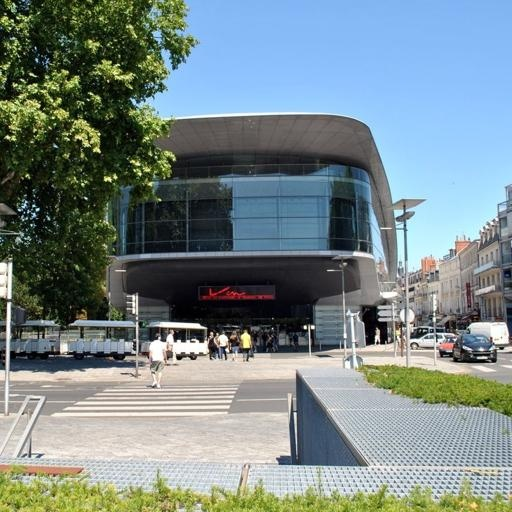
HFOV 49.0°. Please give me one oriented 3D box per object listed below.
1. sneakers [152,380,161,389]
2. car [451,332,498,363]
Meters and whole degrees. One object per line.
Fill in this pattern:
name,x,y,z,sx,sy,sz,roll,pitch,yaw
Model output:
sneakers,-3.421,4.460,19.376,0.163,0.184,0.441,1,-1,-2
car,12.236,5.183,31.493,1.901,1.529,2.577,-2,-8,9
